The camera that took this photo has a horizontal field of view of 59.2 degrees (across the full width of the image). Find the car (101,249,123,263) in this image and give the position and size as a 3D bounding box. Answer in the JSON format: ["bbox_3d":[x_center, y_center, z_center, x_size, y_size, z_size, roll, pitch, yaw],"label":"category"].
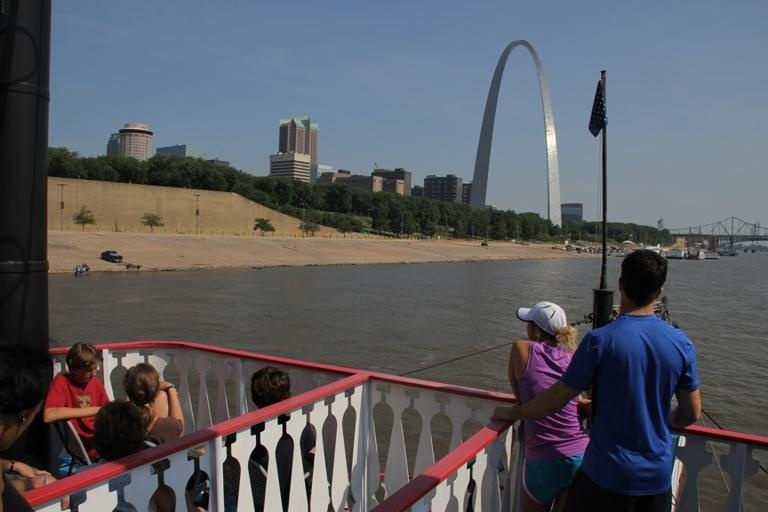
[{"bbox_3d":[-24.692,0.035,60.698,2.037,1.081,1.188,1,3,33],"label":"car"}]

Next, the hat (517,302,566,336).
[{"bbox_3d":[1.461,0.594,6.253,0.398,0.224,0.287,18,10,27],"label":"hat"}]
